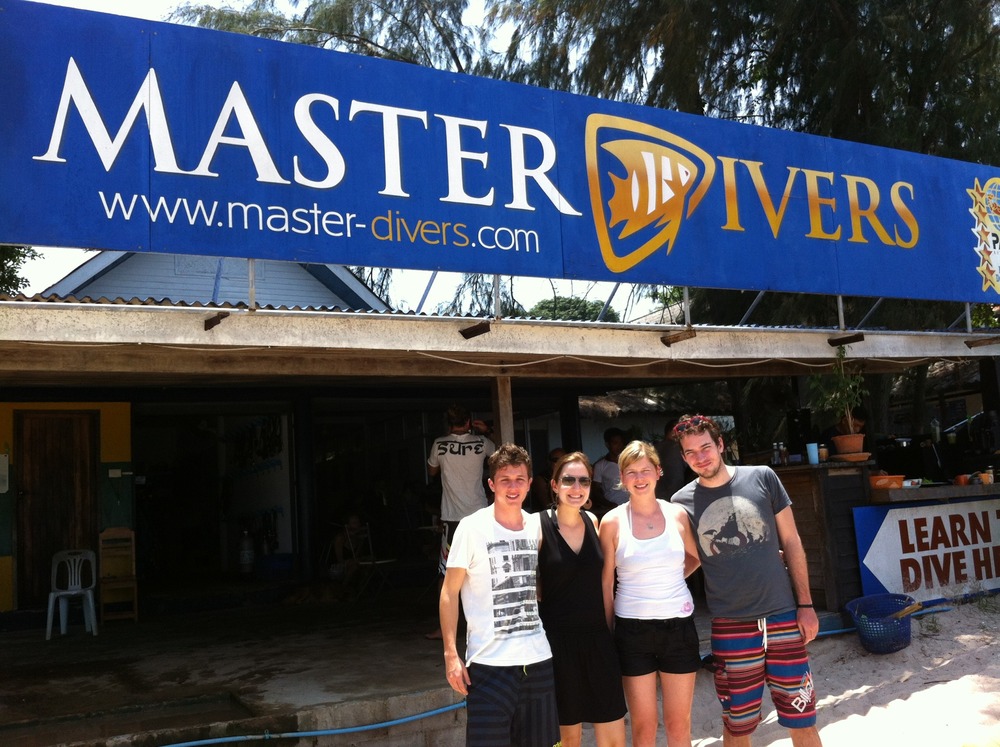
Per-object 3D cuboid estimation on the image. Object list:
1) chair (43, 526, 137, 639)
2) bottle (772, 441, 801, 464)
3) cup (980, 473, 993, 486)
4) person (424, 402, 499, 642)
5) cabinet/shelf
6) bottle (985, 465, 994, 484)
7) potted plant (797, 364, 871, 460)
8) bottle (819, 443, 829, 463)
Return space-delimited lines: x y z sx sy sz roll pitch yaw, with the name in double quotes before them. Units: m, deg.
"chair" -5.003 2.581 10.333 0.983 1.221 1.252 3 -4 -26
"bottle" 3.521 0.987 10.239 0.238 0.285 0.255 0 0 -17
"cup" 6.310 1.379 10.811 0.147 0.166 0.158 0 -3 0
"person" -0.442 1.374 9.366 0.709 2.196 0.521 2 20 -2
"cabinet/shelf" 3.955 1.986 10.276 1.643 1.660 1.694 -13 -13 37
"bottle" 6.389 1.361 10.942 0.141 0.221 0.203 0 -2 27
"potted plant" 4.182 0.515 10.292 0.636 1.150 0.730 3 -19 -30
"bottle" 3.927 0.977 10.148 0.148 0.192 0.146 0 5 0
